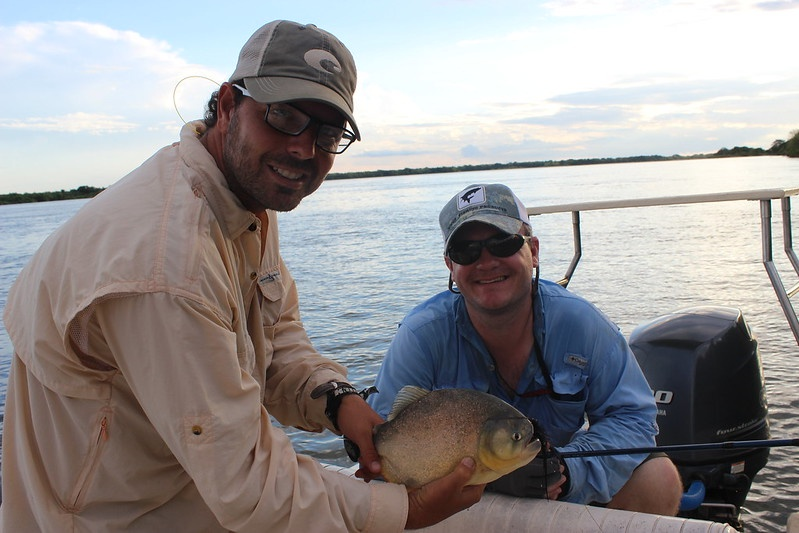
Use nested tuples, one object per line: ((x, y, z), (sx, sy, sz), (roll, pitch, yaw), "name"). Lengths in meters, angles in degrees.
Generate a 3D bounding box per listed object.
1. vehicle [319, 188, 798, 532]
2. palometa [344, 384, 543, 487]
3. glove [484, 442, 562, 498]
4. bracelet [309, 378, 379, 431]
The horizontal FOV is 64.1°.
((1.356, 0.685, 4.904), (2.966, 2.006, 2.543), (-3, -2, 11), "vehicle")
((0.184, 0.932, 3.615), (1.262, 0.617, 0.391), (0, -7, 12), "palometa")
((0.783, 1.295, 4.034), (0.403, 0.182, 0.287), (-15, 2, 0), "glove")
((-0.385, 0.799, 3.910), (0.258, 0.343, 0.145), (8, 2, -35), "bracelet")
